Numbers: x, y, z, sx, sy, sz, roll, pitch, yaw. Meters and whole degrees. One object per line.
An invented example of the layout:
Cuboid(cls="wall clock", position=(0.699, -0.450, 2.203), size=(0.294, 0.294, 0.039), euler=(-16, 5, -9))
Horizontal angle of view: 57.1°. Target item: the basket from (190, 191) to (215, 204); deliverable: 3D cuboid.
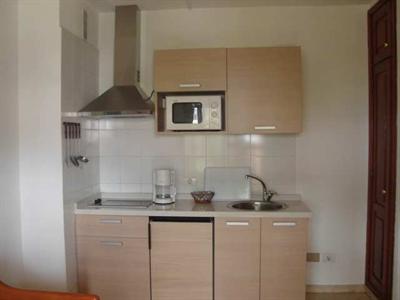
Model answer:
Cuboid(cls="basket", position=(0.025, 0.420, 3.497), size=(0.118, 0.075, 0.168), euler=(-3, -4, 42))

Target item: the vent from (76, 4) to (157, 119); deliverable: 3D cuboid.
Cuboid(cls="vent", position=(-0.799, -0.755, 3.594), size=(0.629, 1.144, 0.561), euler=(-1, 6, -11))

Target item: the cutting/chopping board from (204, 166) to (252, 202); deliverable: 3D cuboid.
Cuboid(cls="cutting/chopping board", position=(0.291, 0.341, 3.609), size=(0.475, 0.338, 0.109), euler=(-1, 0, 6))

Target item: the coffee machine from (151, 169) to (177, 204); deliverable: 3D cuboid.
Cuboid(cls="coffee machine", position=(-0.345, 0.345, 3.502), size=(0.181, 0.349, 0.165), euler=(4, 6, 4))

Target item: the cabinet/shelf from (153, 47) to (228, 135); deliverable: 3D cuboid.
Cuboid(cls="cabinet/shelf", position=(-0.099, -0.519, 3.204), size=(0.735, 0.770, 0.604), euler=(3, 6, 4))

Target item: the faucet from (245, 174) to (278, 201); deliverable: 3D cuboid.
Cuboid(cls="faucet", position=(0.594, 0.366, 3.563), size=(0.306, 0.242, 0.142), euler=(1, 0, 7))
